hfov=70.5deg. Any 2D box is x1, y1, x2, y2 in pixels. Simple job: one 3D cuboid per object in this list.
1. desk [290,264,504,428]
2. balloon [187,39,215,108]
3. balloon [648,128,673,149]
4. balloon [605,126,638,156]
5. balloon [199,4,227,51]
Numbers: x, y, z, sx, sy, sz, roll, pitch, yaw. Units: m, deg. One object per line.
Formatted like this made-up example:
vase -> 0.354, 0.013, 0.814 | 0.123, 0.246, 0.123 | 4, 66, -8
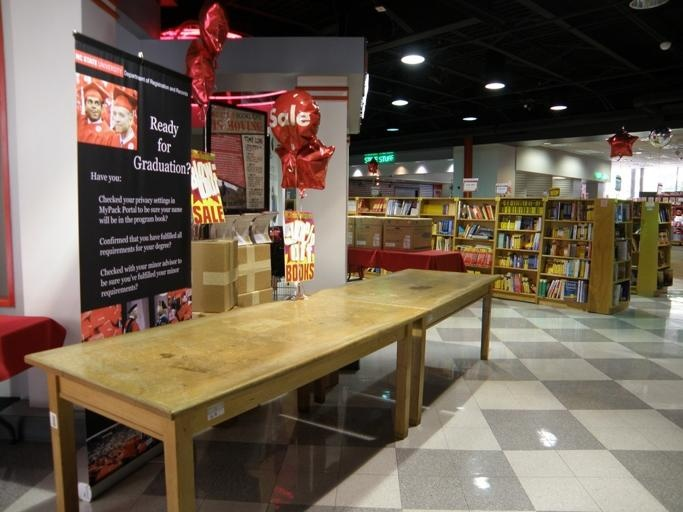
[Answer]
desk -> 0.372, 0.861, 4.377 | 1.160, 0.983, 2.198 | 4, 18, 44
balloon -> -1.043, -1.373, 3.716 | 0.185, 0.518, 0.194 | -5, 1, 8
balloon -> 6.093, -2.271, 9.255 | 0.303, 0.341, 0.857 | 9, 14, 34
balloon -> 5.873, -2.397, 10.177 | 0.457, 0.635, 0.968 | 7, 13, 27
balloon -> -0.979, -1.749, 3.712 | 0.203, 0.350, 0.102 | -3, 13, -17
